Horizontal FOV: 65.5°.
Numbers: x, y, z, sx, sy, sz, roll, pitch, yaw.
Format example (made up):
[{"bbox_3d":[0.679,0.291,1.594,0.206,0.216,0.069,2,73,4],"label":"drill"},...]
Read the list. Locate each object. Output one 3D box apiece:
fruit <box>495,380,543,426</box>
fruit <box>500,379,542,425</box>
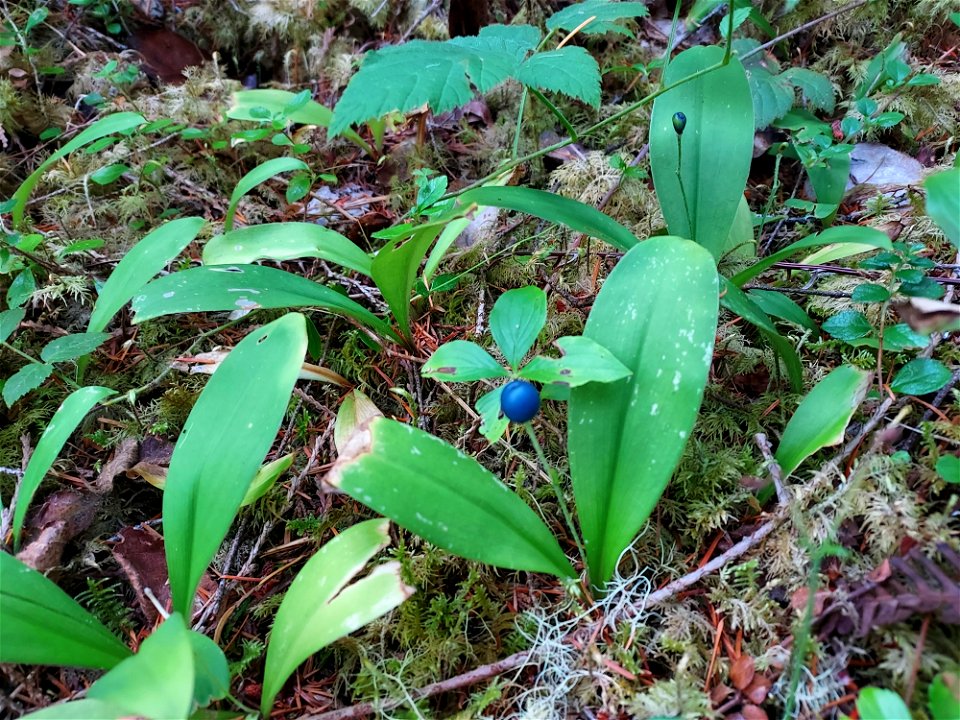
[{"bbox_3d":[0.101,0.101,1.800,0.085,0.052,0.106,1,90,0],"label":"fruit"},{"bbox_3d":[0.094,0.110,1.843,0.086,0.122,0.103,-5,50,-13],"label":"fruit"}]
